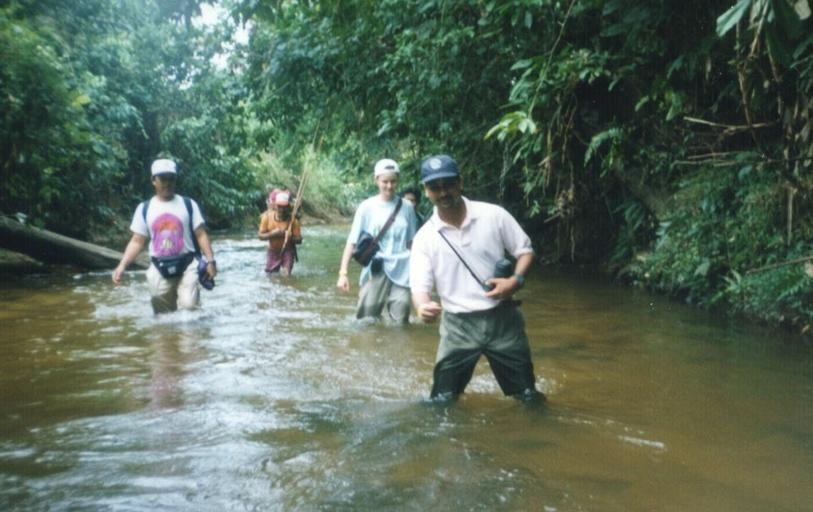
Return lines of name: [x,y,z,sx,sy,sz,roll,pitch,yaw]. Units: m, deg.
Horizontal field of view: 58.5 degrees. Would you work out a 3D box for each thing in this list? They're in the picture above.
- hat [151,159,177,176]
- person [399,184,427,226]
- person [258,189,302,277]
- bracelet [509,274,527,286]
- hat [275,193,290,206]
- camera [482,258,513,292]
hat: [-3.712,-1.335,11.084,0.358,0.238,0.232,-10,15,-39]
person: [0.093,-0.972,13.319,0.534,0.861,0.498,-2,20,-4]
person: [-2.786,-0.498,15.795,0.849,1.771,1.255,-3,12,-12]
bracelet: [1.255,0.265,8.226,0.128,0.069,0.116,4,-25,7]
hat: [-2.711,-1.215,15.672,0.278,0.299,0.282,-2,12,-9]
camera: [1.090,0.213,8.294,0.470,0.356,0.241,-9,15,-37]
